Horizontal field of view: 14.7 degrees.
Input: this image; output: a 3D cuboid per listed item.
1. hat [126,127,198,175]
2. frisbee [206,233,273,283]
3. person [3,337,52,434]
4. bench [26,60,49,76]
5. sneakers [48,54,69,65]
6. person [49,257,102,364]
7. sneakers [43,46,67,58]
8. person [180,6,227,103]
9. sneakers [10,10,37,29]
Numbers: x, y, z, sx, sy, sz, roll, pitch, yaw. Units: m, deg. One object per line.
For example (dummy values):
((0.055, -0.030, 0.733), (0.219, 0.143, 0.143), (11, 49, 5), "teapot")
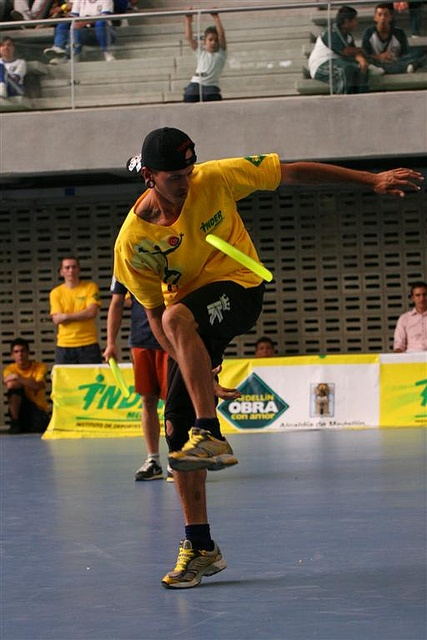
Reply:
((-0.317, -0.951, 9.669), (0.287, 0.231, 0.407), (-29, 25, -37), "hat")
((0.141, -0.357, 9.590), (0.348, 0.310, 0.586), (-4, 8, 0), "frisbee")
((-1.882, 0.661, 16.673), (0.439, 0.983, 0.635), (-5, 8, -6), "person")
((-1.730, -2.492, 16.374), (0.195, 0.142, 0.094), (5, 7, 12), "bench")
((-1.515, -2.550, 16.281), (0.192, 0.067, 0.135), (2, 11, 39), "sneakers")
((-1.319, -0.095, 15.899), (0.462, 1.051, 0.503), (-5, 8, -6), "person")
((-1.552, -2.633, 16.309), (0.222, 0.109, 0.108), (11, 22, 29), "sneakers")
((-0.075, -2.391, 15.925), (0.357, 1.197, 0.306), (0, -10, 21), "person")
((-1.924, -3.071, 16.945), (0.306, 0.104, 0.218), (30, 30, 21), "sneakers")
